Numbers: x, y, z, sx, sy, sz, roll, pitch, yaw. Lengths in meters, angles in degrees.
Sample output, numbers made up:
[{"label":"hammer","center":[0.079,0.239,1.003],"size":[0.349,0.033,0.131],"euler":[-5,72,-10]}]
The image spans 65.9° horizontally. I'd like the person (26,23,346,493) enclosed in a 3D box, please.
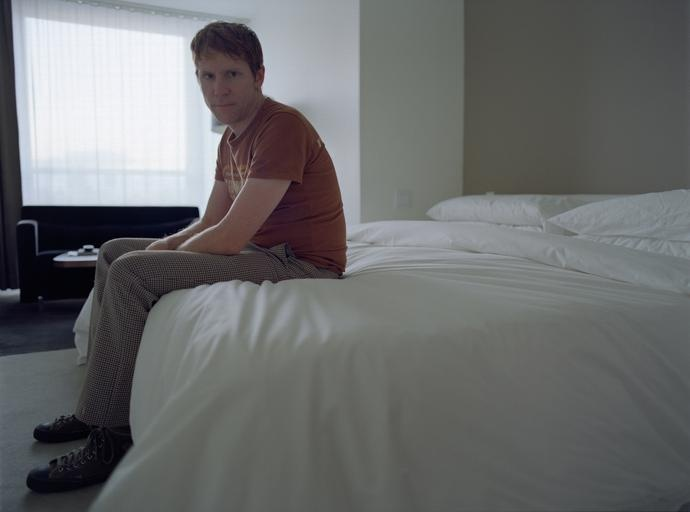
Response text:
[{"label":"person","center":[-0.397,-0.036,1.873],"size":[0.988,1.658,0.808],"euler":[3,1,-21]}]
